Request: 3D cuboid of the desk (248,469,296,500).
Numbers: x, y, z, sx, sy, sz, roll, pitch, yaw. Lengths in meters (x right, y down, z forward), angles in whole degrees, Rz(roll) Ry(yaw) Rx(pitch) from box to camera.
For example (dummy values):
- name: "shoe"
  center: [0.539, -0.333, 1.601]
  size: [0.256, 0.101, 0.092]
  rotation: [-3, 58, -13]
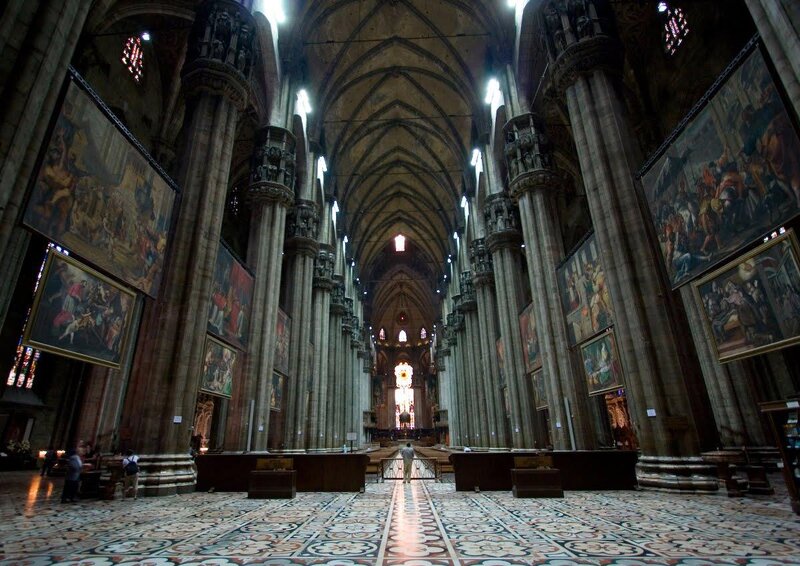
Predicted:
- name: "desk"
  center: [-3.183, 4.915, 10.392]
  size: [0.729, 0.481, 0.763]
  rotation: [0, -14, 0]
